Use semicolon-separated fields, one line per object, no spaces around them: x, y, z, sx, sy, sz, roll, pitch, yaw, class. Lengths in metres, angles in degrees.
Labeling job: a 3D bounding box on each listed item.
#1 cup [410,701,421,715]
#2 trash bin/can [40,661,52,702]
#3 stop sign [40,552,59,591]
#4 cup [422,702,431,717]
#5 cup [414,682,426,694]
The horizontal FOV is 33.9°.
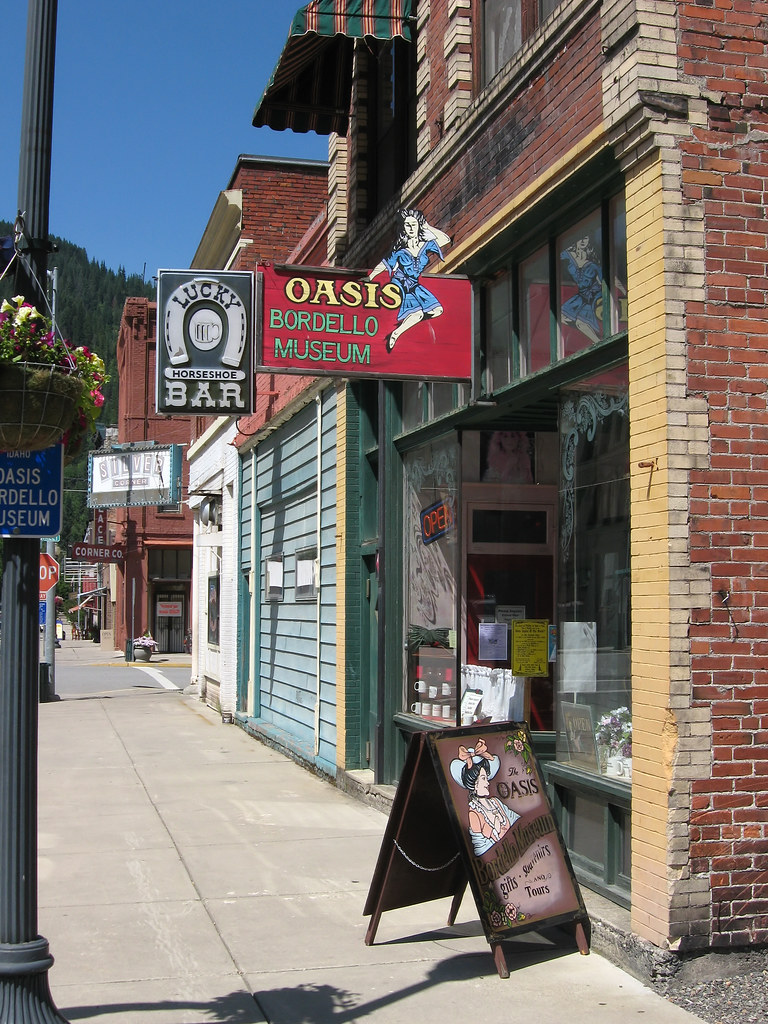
0.247;1.532;9.809;0.070;0.102;0.051;1;0;-17;cup
-5.740;2.916;21.523;0.197;0.667;2.391;1;-6;-15;trash bin/can
-5.547;0.982;20.953;0.259;0.638;1.429;1;-6;-14;stop sign
0.320;1.504;9.564;0.063;0.170;0.077;2;-5;-9;cup
0.283;1.355;9.724;0.078;0.109;0.059;1;0;-8;cup
